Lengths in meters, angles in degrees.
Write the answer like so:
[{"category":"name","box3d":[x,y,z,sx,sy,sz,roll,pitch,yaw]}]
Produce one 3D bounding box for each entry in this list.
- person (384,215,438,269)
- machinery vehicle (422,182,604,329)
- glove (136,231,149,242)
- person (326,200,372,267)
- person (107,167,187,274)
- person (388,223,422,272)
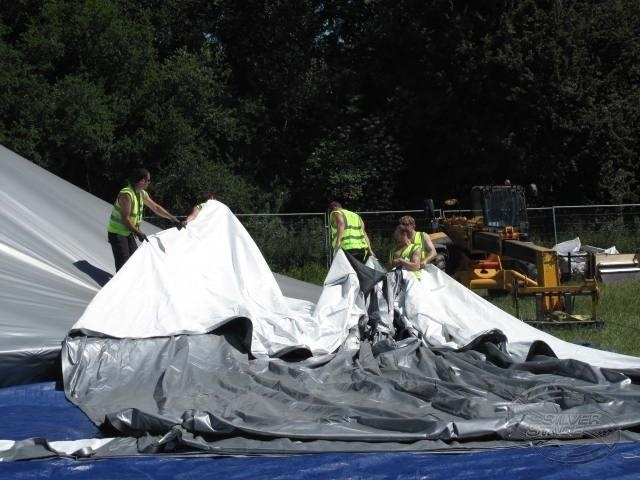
[{"category":"person","box3d":[1.653,0.054,16.055,0.735,1.031,0.544,-5,14,41]},{"category":"machinery vehicle","box3d":[3.757,0.100,19.641,1.833,2.737,5.829,0,6,-17]},{"category":"glove","box3d":[-2.983,-0.068,14.816,0.184,0.190,0.397,1,-3,-13]},{"category":"person","box3d":[0.595,-0.173,17.483,0.749,1.153,0.734,1,-3,-7]},{"category":"person","box3d":[-3.098,-0.340,15.070,0.689,1.710,0.845,-1,-3,37]},{"category":"person","box3d":[1.506,0.189,15.774,0.452,0.933,0.691,8,-15,-39]}]
